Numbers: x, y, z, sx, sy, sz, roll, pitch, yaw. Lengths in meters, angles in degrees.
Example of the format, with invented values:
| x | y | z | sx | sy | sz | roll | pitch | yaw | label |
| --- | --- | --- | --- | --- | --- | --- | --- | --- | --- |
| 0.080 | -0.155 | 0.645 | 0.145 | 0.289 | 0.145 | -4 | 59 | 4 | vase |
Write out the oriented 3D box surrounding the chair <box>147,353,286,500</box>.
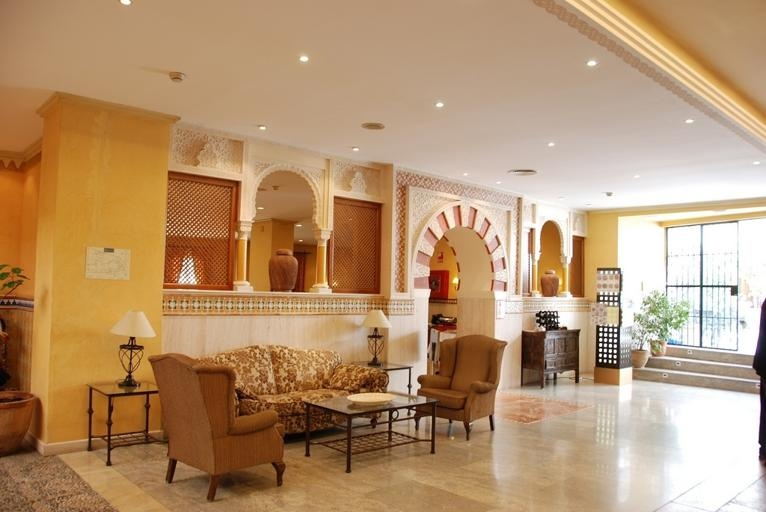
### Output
| x | y | z | sx | sy | sz | roll | pitch | yaw | label |
| --- | --- | --- | --- | --- | --- | --- | --- | --- | --- |
| -1.903 | 1.688 | 6.561 | 1.574 | 1.846 | 1.523 | -1 | -2 | 40 | chair |

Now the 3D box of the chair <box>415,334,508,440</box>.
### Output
| x | y | z | sx | sy | sz | roll | pitch | yaw | label |
| --- | --- | --- | --- | --- | --- | --- | --- | --- | --- |
| 1.171 | 1.942 | 8.260 | 1.172 | 1.387 | 1.089 | -4 | -6 | 42 | chair |

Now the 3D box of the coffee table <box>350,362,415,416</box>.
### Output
| x | y | z | sx | sy | sz | roll | pitch | yaw | label |
| --- | --- | --- | --- | --- | --- | --- | --- | --- | --- |
| 0.173 | 2.144 | 8.900 | 0.714 | 0.748 | 0.791 | 6 | -8 | -35 | coffee table |

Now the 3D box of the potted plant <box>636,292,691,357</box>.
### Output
| x | y | z | sx | sy | sz | roll | pitch | yaw | label |
| --- | --- | --- | --- | --- | --- | --- | --- | --- | --- |
| 6.923 | 1.754 | 13.259 | 1.052 | 1.308 | 0.926 | 1 | 9 | -31 | potted plant |

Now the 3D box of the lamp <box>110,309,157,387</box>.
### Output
| x | y | z | sx | sy | sz | roll | pitch | yaw | label |
| --- | --- | --- | --- | --- | --- | --- | --- | --- | --- |
| -3.229 | 1.181 | 6.993 | 0.514 | 0.962 | 0.560 | 1 | 3 | -24 | lamp |

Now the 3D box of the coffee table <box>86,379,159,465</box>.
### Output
| x | y | z | sx | sy | sz | roll | pitch | yaw | label |
| --- | --- | --- | --- | --- | --- | --- | --- | --- | --- |
| -3.209 | 1.971 | 7.043 | 1.120 | 1.007 | 0.892 | 5 | -7 | -40 | coffee table |

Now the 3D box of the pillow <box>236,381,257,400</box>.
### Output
| x | y | z | sx | sy | sz | roll | pitch | yaw | label |
| --- | --- | --- | --- | --- | --- | --- | --- | --- | --- |
| -1.829 | 1.745 | 7.105 | 0.228 | 0.067 | 0.229 | 13 | -8 | 35 | pillow |

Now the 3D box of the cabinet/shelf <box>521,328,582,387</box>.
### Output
| x | y | z | sx | sy | sz | roll | pitch | yaw | label |
| --- | --- | --- | --- | --- | --- | --- | --- | --- | --- |
| 3.666 | 2.199 | 11.852 | 1.406 | 1.148 | 0.609 | 6 | -5 | -42 | cabinet/shelf |
